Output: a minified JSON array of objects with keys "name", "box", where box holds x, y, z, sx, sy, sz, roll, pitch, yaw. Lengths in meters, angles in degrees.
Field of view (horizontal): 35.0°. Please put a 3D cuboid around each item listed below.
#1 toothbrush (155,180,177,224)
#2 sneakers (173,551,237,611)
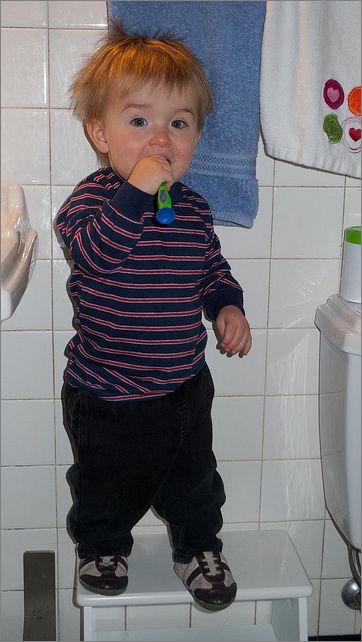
[{"name":"toothbrush","box":[-0.024,-0.163,0.785,0.020,0.026,0.067,1,45,-16]},{"name":"sneakers","box":[0.042,0.449,1.019,0.065,0.052,0.122,7,3,-20]}]
